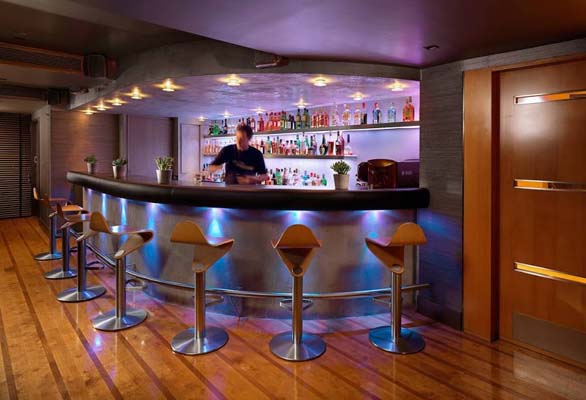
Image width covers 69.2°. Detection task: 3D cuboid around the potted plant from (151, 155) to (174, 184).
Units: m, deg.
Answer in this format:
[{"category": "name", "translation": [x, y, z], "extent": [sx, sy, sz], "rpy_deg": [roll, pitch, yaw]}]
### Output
[{"category": "potted plant", "translation": [-1.630, -0.374, 5.392], "extent": [0.193, 0.311, 0.655], "rpy_deg": [-4, 10, -17]}]

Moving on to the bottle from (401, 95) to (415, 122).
[{"category": "bottle", "translation": [1.465, -1.150, 5.348], "extent": [0.150, 0.295, 0.171], "rpy_deg": [1, 10, 13]}]

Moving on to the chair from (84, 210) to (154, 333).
[{"category": "chair", "translation": [-1.982, 0.752, 4.725], "extent": [0.592, 1.273, 0.593], "rpy_deg": [6, 12, 34]}]

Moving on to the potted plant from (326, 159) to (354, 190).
[{"category": "potted plant", "translation": [0.530, -0.277, 4.754], "extent": [0.184, 0.303, 0.293], "rpy_deg": [0, 10, 5]}]

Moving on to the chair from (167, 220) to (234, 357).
[{"category": "chair", "translation": [-0.957, 0.859, 4.333], "extent": [0.578, 1.319, 0.542], "rpy_deg": [3, 11, 20]}]

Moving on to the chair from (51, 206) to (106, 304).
[{"category": "chair", "translation": [-2.696, 0.765, 5.492], "extent": [0.594, 0.925, 0.572], "rpy_deg": [-28, -23, 10]}]

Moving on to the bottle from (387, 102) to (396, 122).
[{"category": "bottle", "translation": [1.286, -1.137, 5.516], "extent": [0.113, 0.267, 0.307], "rpy_deg": [1, 10, 12]}]

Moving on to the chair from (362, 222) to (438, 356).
[{"category": "chair", "translation": [1.055, 0.865, 4.387], "extent": [0.642, 1.290, 0.519], "rpy_deg": [4, 12, 29]}]

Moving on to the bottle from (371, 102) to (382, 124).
[{"category": "bottle", "translation": [1.130, -1.180, 5.713], "extent": [0.115, 0.279, 0.212], "rpy_deg": [1, 10, 10]}]

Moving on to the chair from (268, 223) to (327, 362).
[{"category": "chair", "translation": [0.042, 0.891, 4.256], "extent": [0.553, 1.325, 0.513], "rpy_deg": [5, 12, 31]}]

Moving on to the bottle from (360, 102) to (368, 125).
[{"category": "bottle", "translation": [0.977, -1.201, 5.854], "extent": [0.103, 0.283, 0.176], "rpy_deg": [0, 10, 9]}]
